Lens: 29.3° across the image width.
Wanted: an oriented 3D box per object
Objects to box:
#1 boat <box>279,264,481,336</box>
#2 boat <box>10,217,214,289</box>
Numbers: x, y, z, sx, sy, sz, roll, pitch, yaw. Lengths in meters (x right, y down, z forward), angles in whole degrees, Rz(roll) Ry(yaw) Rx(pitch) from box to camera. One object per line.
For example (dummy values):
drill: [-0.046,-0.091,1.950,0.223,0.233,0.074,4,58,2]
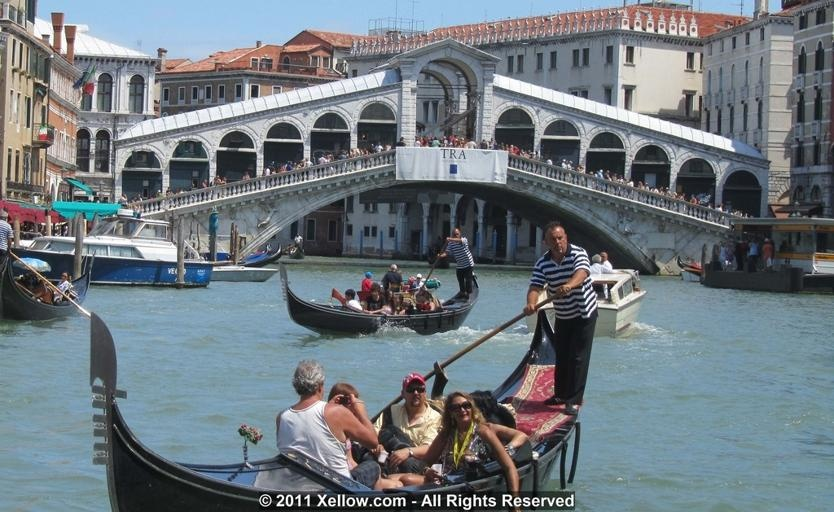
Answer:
boat: [-0.869,1.842,57.945,2.339,2.842,10.616,-26,-18,37]
boat: [-12.319,-0.056,66.053,8.285,2.588,2.797,0,2,-29]
